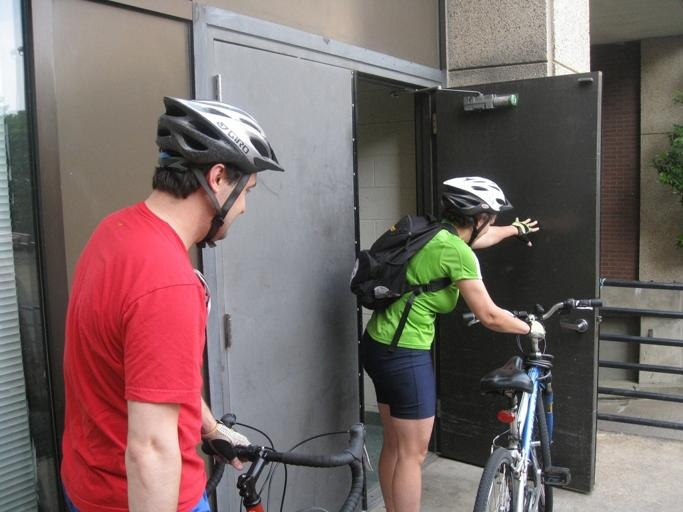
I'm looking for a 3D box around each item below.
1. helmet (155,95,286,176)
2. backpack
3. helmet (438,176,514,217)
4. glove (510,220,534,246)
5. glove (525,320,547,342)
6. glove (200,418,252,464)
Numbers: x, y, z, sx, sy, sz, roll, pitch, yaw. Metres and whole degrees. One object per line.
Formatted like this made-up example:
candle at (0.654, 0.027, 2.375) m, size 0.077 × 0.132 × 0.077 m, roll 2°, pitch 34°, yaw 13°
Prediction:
helmet at (-0.459, -0.440, 2.867) m, size 0.380 × 0.207 × 0.283 m, roll 3°, pitch 3°, yaw -25°
backpack at (0.345, -0.011, 4.426) m, size 0.519 × 0.584 × 0.447 m, roll 17°, pitch 11°, yaw -7°
helmet at (0.811, -0.359, 4.444) m, size 0.339 × 0.150 × 0.248 m, roll -4°, pitch 14°, yaw -28°
glove at (1.232, -0.162, 5.046) m, size 0.045 × 0.168 × 0.157 m, roll -31°, pitch -41°, yaw 30°
glove at (1.178, 0.435, 4.509) m, size 0.094 × 0.073 × 0.144 m, roll 1°, pitch -29°, yaw 24°
glove at (-0.471, 0.759, 3.039) m, size 0.147 × 0.062 × 0.156 m, roll 28°, pitch 44°, yaw 5°
